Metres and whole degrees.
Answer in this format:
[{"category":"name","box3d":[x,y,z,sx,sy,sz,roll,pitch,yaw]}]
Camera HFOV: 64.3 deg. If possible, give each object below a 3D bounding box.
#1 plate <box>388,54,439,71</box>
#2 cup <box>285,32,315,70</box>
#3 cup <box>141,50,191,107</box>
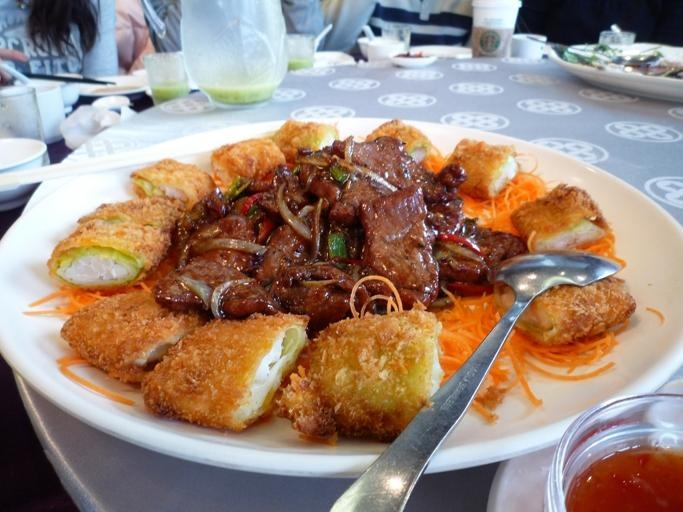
[{"category":"plate","box3d":[0.605,-1.646,4.623,0.362,0.122,0.301,8,32,4]},{"category":"cup","box3d":[-0.356,-1.793,4.793,0.231,0.271,0.287,3,32,-5]},{"category":"cup","box3d":[-1.326,-1.351,4.154,0.363,0.402,0.292,-7,24,-15]}]
